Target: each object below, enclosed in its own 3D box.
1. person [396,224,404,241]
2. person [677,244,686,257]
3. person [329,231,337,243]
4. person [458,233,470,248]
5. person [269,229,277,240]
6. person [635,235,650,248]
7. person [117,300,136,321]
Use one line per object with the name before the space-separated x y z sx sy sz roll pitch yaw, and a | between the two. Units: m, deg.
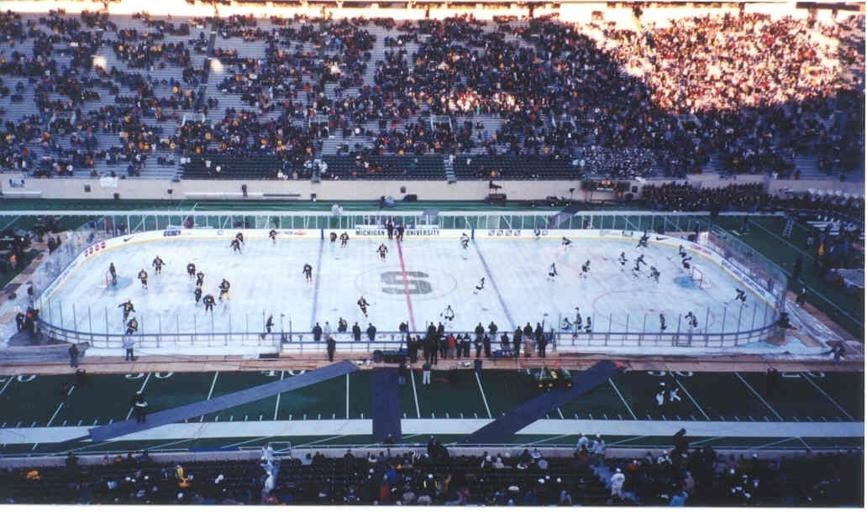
person | -3.764 -2.556 113.055 0.928 1.597 1.255 3 43 0
person | 26.258 -0.525 110.156 0.764 0.556 1.101 16 12 -11
person | -10.943 -2.037 111.642 0.449 0.836 1.539 2 22 -7
person | 3.217 -1.680 112.735 0.826 1.326 0.775 24 51 12
person | -17.463 -2.400 111.442 1.035 0.372 0.890 18 -11 42
person | 22.516 -1.506 112.110 1.453 0.663 1.887 2 -2 16
person | -29.090 5.327 97.670 1.337 1.630 0.529 22 20 -25
